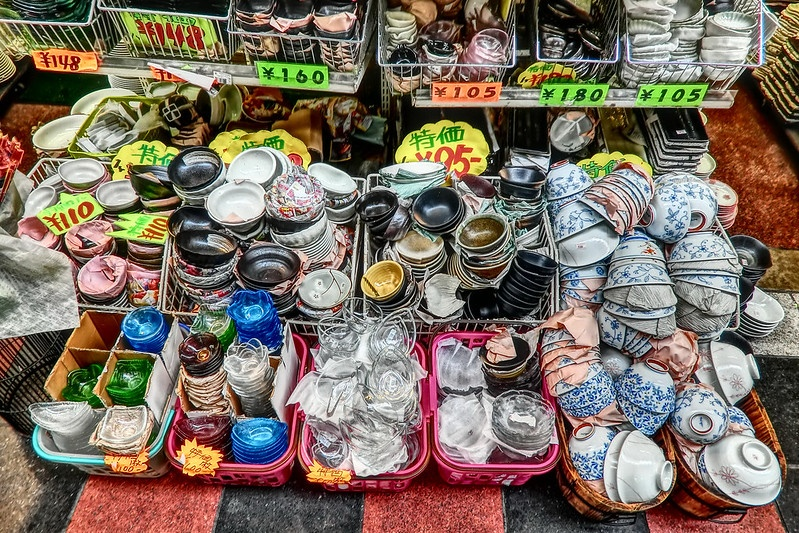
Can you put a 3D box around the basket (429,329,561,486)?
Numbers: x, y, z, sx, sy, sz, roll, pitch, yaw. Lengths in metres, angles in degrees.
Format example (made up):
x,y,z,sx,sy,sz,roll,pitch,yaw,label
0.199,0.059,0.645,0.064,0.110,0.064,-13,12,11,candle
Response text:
x,y,z,sx,sy,sz,roll,pitch,yaw,label
0.339,0.795,2.969,0.574,0.302,0.785,1,69,-3,basket

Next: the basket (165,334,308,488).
x,y,z,sx,sy,sz,roll,pitch,yaw,label
-0.665,0.674,2.711,0.598,0.268,0.791,2,88,6,basket

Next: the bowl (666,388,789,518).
x,y,z,sx,sy,sz,roll,pitch,yaw,label
1.587,0.925,2.901,0.493,0.238,0.645,46,60,2,bowl

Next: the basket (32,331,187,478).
x,y,z,sx,sy,sz,roll,pitch,yaw,label
-1.278,0.609,2.645,0.559,0.273,0.791,6,81,10,basket

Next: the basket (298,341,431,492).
x,y,z,sx,sy,sz,roll,pitch,yaw,label
-0.051,0.665,2.605,0.536,0.252,0.723,0,78,2,basket
